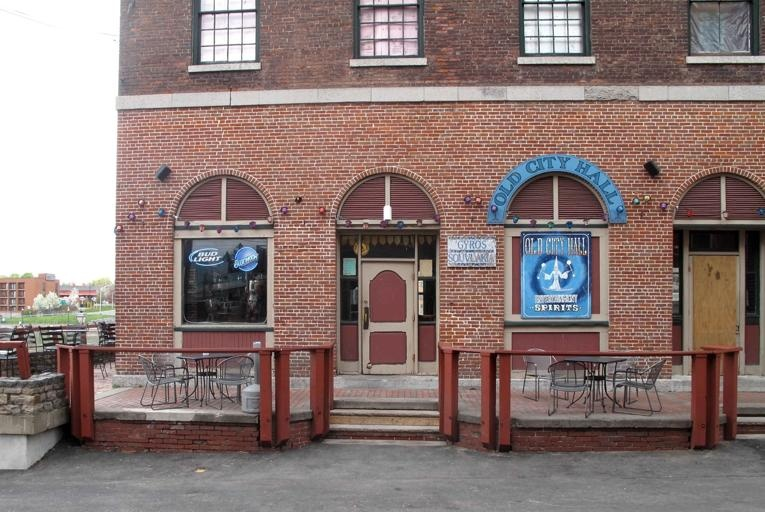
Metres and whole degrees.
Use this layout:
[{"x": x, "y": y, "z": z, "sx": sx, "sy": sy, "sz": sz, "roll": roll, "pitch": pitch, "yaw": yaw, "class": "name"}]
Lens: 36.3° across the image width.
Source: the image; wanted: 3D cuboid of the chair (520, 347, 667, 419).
[{"x": 4.545, "y": 2.720, "z": 25.288, "sx": 2.976, "sy": 1.291, "sz": 2.901, "roll": -2, "pitch": -3, "yaw": 4, "class": "chair"}]
